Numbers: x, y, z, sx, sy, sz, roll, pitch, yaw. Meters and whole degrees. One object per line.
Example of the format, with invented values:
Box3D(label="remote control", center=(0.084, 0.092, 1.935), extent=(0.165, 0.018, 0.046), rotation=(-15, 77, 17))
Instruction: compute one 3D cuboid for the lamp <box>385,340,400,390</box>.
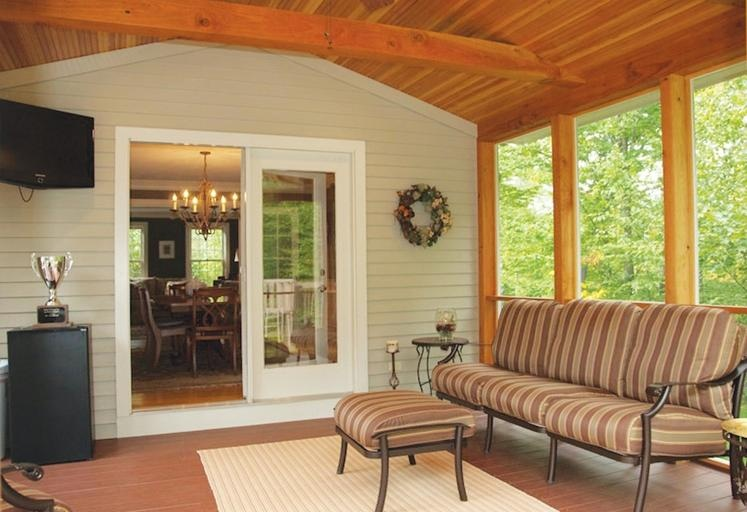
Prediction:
Box3D(label="lamp", center=(0.221, 1.223, 6.677), extent=(0.153, 0.593, 0.301), rotation=(-1, 9, 2))

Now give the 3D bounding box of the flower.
Box3D(label="flower", center=(0.551, -0.475, 6.812), extent=(0.942, 0.664, 0.304), rotation=(-12, 0, -26))

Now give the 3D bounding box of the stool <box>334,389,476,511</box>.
Box3D(label="stool", center=(0.112, 1.409, 4.570), extent=(1.071, 0.501, 0.971), rotation=(1, -1, -29))

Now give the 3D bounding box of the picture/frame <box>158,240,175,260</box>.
Box3D(label="picture/frame", center=(-4.565, -0.144, 12.967), extent=(0.345, 0.417, 0.106), rotation=(-3, 10, -13))

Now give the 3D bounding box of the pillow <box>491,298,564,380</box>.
Box3D(label="pillow", center=(1.485, 0.807, 5.627), extent=(0.456, 0.569, 0.775), rotation=(15, -12, -28))

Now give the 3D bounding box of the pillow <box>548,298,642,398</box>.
Box3D(label="pillow", center=(1.909, 0.809, 5.037), extent=(0.597, 0.690, 1.008), rotation=(1, -1, -35))
